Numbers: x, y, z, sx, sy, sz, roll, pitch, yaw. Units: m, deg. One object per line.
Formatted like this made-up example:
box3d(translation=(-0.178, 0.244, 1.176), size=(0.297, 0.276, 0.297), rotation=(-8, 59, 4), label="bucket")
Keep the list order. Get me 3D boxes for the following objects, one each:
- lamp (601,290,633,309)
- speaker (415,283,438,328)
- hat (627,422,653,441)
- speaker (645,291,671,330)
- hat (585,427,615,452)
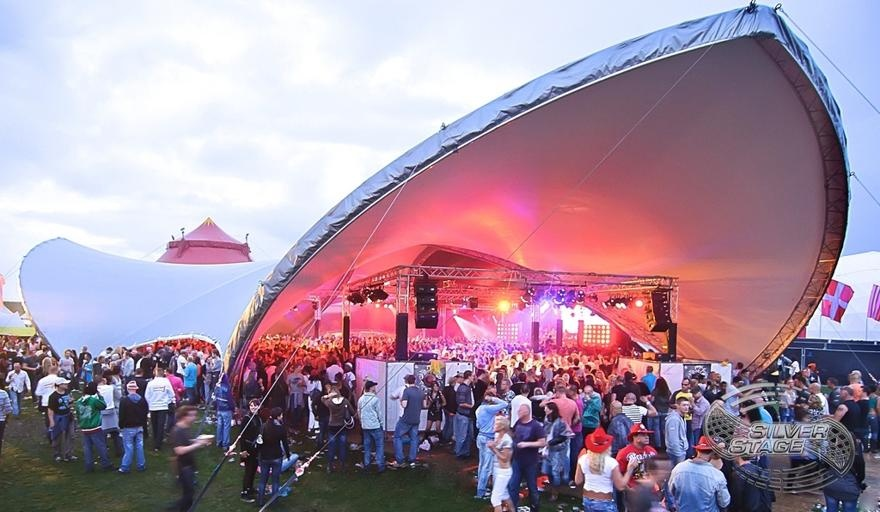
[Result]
box3d(translation=(8.946, 2.175, 31.097), size=(1.070, 0.267, 1.012), rotation=(9, -29, -7), label="lamp")
box3d(translation=(-0.578, 1.833, 24.285), size=(0.891, 1.792, 0.555), rotation=(2, -12, -3), label="speaker")
box3d(translation=(4.852, 4.326, 15.308), size=(0.452, 0.360, 0.415), rotation=(-3, -13, 22), label="hat")
box3d(translation=(9.581, 2.357, 27.296), size=(0.889, 1.867, 0.580), rotation=(-1, -12, 13), label="speaker")
box3d(translation=(3.752, 4.344, 14.758), size=(0.579, 0.566, 0.332), rotation=(0, -12, 7), label="hat")
